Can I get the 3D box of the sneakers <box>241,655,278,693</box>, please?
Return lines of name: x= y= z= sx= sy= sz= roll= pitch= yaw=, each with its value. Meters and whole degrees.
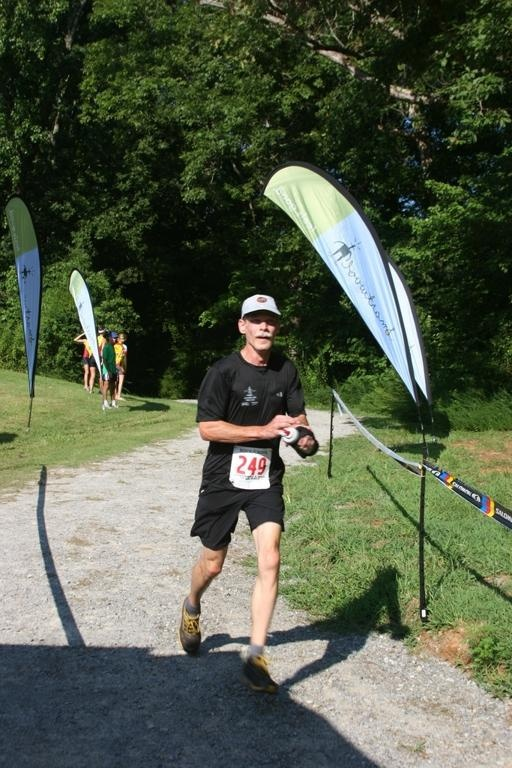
sneakers: x=0.031 y=1.284 z=3.034 sx=0.088 sy=0.108 sz=0.243 roll=5 pitch=-12 yaw=-21

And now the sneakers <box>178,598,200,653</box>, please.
sneakers: x=-0.356 y=1.256 z=3.639 sx=0.106 sy=0.296 sz=0.126 roll=7 pitch=-35 yaw=-24

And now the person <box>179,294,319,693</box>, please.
person: x=-0.012 y=0.508 z=3.434 sx=0.558 sy=1.923 sz=0.866 roll=2 pitch=4 yaw=-27
